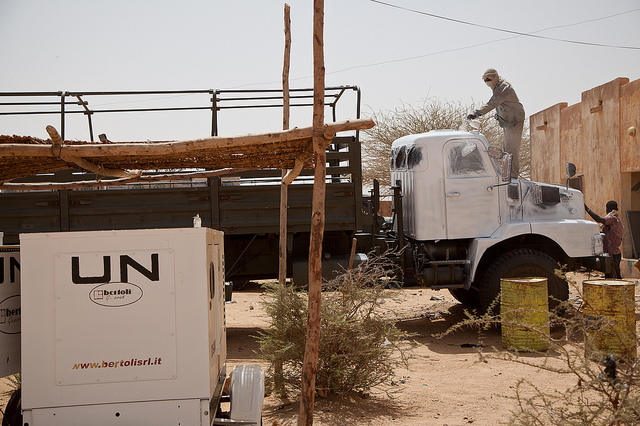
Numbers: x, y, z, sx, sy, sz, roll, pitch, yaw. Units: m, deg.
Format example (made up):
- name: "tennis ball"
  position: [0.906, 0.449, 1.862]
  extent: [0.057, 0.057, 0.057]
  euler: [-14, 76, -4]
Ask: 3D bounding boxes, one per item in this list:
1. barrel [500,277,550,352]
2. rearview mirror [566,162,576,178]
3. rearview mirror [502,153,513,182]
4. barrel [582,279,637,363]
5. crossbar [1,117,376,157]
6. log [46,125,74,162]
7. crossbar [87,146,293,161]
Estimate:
- name: "barrel"
  position: [3.283, 1.665, 12.883]
  extent: [0.949, 1.132, 1.014]
  euler: [-2, 0, -19]
- name: "rearview mirror"
  position: [4.277, -0.722, 13.379]
  extent: [0.133, 0.271, 0.353]
  euler: [1, 8, 17]
- name: "rearview mirror"
  position: [3.211, -0.773, 13.422]
  extent: [0.166, 0.446, 0.258]
  euler: [0, 8, 15]
- name: "barrel"
  position: [4.380, 1.489, 11.875]
  extent: [1.089, 1.726, 1.147]
  euler: [-1, 0, 0]
- name: "crossbar"
  position: [-2.049, -0.854, 9.640]
  extent: [3.657, 0.287, 0.228]
  euler: [-2, 8, -2]
- name: "log"
  position: [-3.178, -0.829, 9.584]
  extent: [0.242, 0.456, 0.846]
  euler: [-4, 8, -13]
- name: "crossbar"
  position: [-1.742, -0.755, 9.869]
  extent: [2.476, 0.066, 0.172]
  euler: [0, -2, -26]
